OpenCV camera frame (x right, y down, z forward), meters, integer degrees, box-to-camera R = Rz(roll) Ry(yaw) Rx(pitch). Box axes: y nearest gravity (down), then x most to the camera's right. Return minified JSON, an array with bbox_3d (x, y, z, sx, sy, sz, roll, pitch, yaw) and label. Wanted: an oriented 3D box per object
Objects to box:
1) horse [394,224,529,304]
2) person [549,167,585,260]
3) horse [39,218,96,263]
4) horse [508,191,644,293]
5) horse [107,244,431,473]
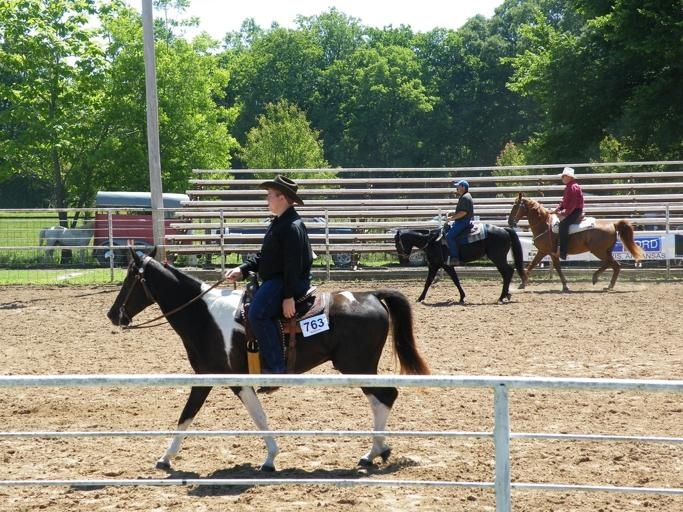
[{"bbox_3d":[3.829,0.259,38.381,4.364,2.359,1.004,-2,-7,13],"label":"horse"},{"bbox_3d":[7.631,-1.475,39.451,0.959,2.633,1.100,-2,15,-21],"label":"person"},{"bbox_3d":[-10.450,-0.439,44.917,1.483,1.712,1.753,-5,16,-28],"label":"horse"},{"bbox_3d":[7.824,-0.388,39.670,4.705,3.018,1.039,3,6,18],"label":"horse"},{"bbox_3d":[-1.786,2.614,29.780,8.236,5.154,1.937,0,-1,-2],"label":"horse"}]
